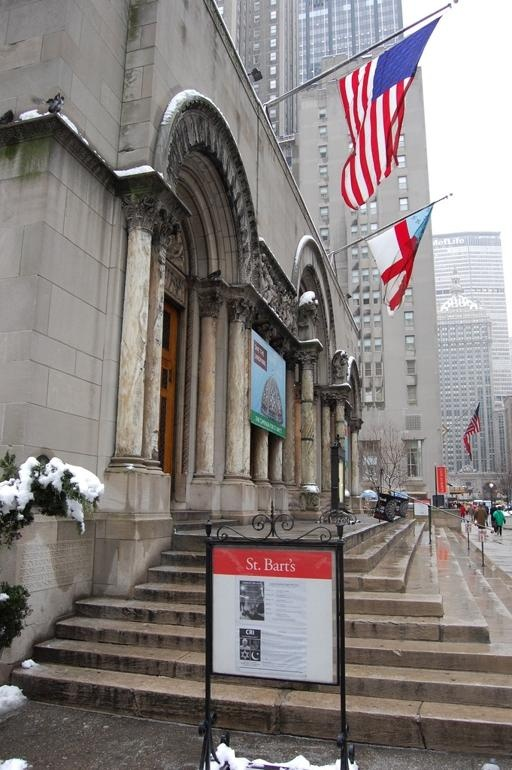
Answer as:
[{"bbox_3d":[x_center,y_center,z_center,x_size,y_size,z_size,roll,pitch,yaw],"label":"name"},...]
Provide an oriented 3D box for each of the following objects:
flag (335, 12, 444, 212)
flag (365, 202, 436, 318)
[{"bbox_3d":[2.954,-6.649,12.673,1.251,3.891,2.631,7,-12,-37],"label":"flag"},{"bbox_3d":[4.319,-3.805,15.799,1.669,2.984,1.784,-3,-10,15],"label":"flag"}]
